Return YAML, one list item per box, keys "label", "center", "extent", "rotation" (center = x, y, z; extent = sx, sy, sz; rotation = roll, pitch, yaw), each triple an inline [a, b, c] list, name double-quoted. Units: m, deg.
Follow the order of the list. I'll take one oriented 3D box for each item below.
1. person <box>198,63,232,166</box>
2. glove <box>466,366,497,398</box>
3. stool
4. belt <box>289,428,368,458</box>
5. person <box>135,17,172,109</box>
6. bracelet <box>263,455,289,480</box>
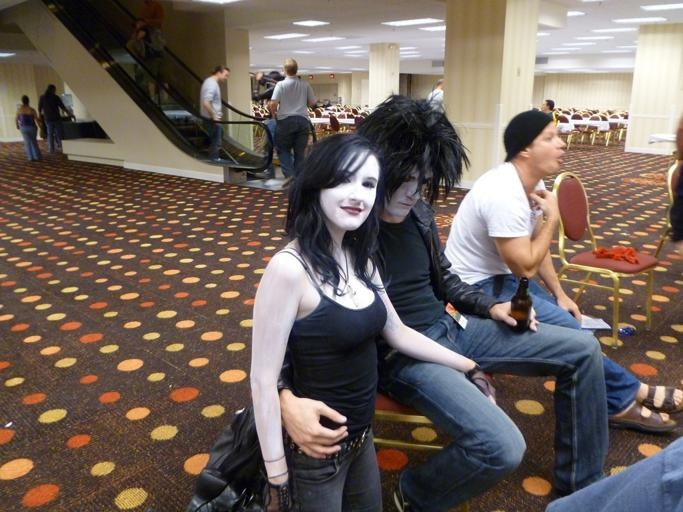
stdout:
- label: "person"
  center: [-2.511, -2.821, 8.597]
  extent: [0.552, 1.794, 0.993]
  rotation: [-6, 16, -20]
- label: "glove"
  center: [0.507, 0.471, 1.540]
  extent: [0.140, 0.047, 0.073]
  rotation: [44, 25, -7]
- label: "stool"
  center: [0.298, 0.590, 1.639]
  extent: [0.498, 0.237, 0.341]
  rotation: [6, 13, 18]
- label: "belt"
  center: [-0.021, 0.544, 1.251]
  extent: [0.126, 0.035, 0.102]
  rotation: [-5, -2, 8]
- label: "person"
  center: [-4.266, -4.312, 9.657]
  extent: [0.632, 1.949, 1.304]
  rotation: [-6, 16, -20]
- label: "bracelet"
  center: [-0.168, 0.546, 1.111]
  extent: [0.055, 0.043, 0.056]
  rotation: [-9, -14, -13]
